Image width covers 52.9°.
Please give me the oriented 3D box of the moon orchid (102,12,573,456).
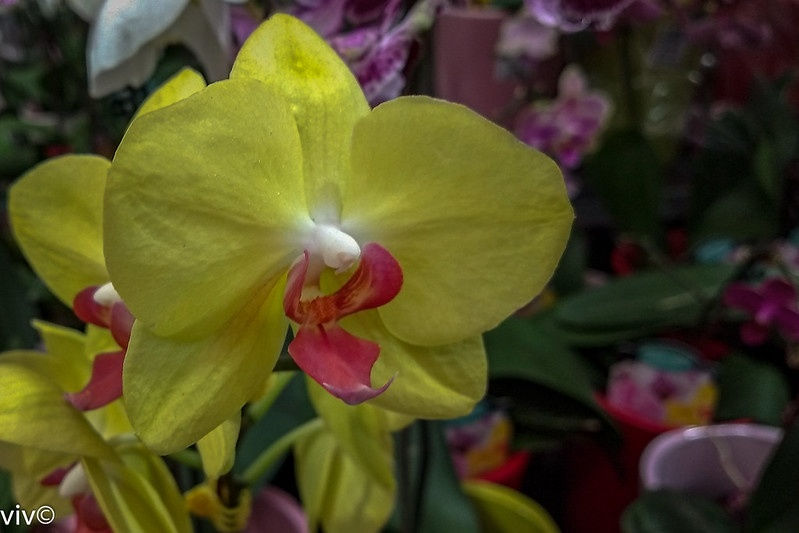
[{"bbox_3d":[-0.045,-0.011,0.513,0.287,0.319,0.164,-2,30,-1],"label":"moon orchid"}]
